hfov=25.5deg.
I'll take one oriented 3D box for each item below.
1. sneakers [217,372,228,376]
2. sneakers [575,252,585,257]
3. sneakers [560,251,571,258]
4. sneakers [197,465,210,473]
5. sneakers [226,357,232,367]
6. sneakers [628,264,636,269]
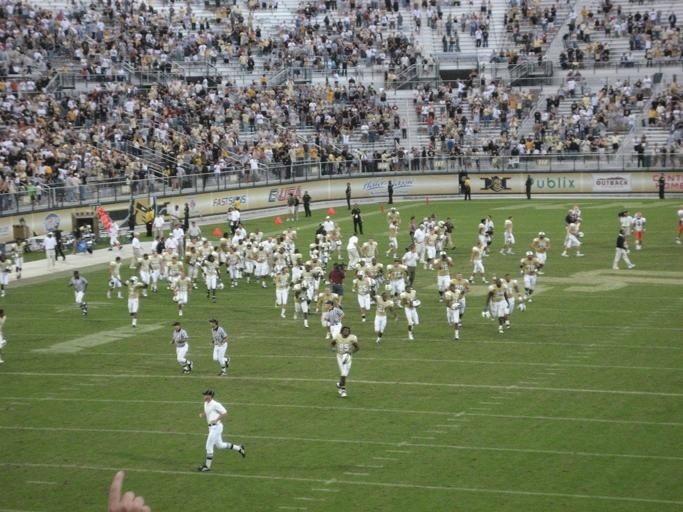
[{"bbox_3d":[-4.414,4.370,56.147,0.404,0.233,0.136,2,10,17],"label":"sneakers"},{"bbox_3d":[10.939,-0.097,69.871,0.401,0.135,0.259,-2,-35,21],"label":"sneakers"},{"bbox_3d":[10.311,-0.134,69.946,0.395,0.241,0.145,-7,25,-23],"label":"sneakers"},{"bbox_3d":[-4.609,7.123,50.561,0.479,0.184,0.158,4,-1,-3],"label":"sneakers"},{"bbox_3d":[-4.246,3.962,56.392,0.223,0.261,0.270,-4,-29,-4],"label":"sneakers"},{"bbox_3d":[12.748,0.435,66.790,0.211,0.144,0.078,-31,39,1],"label":"sneakers"}]
